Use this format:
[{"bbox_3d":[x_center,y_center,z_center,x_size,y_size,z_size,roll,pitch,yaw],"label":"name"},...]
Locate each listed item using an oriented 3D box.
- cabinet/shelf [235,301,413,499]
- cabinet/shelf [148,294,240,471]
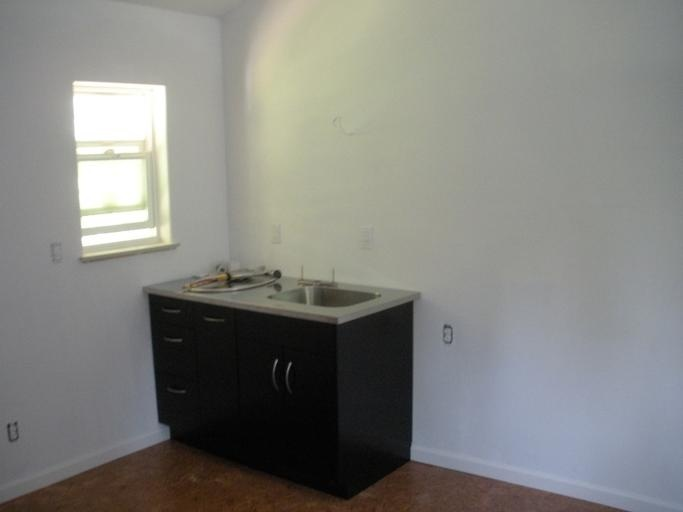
[{"bbox_3d":[-0.117,0.774,3.440,0.800,1.042,0.941,-6,6,-37],"label":"cabinet/shelf"},{"bbox_3d":[-0.846,0.741,3.772,0.702,1.071,0.527,4,14,20],"label":"cabinet/shelf"}]
